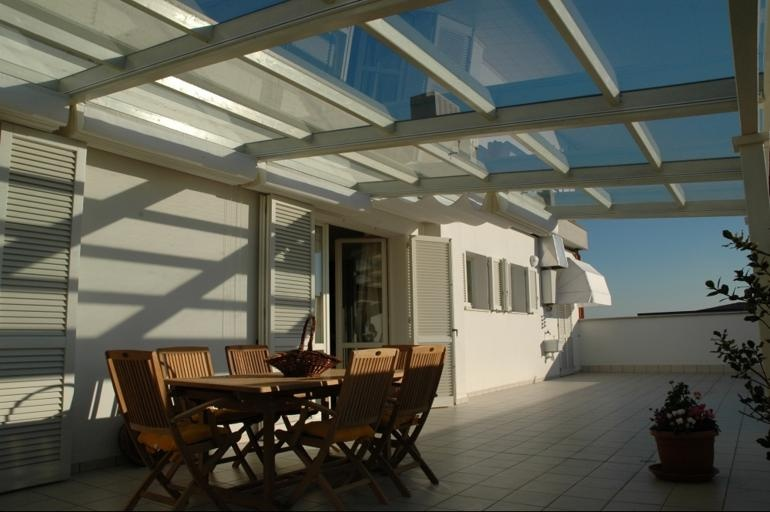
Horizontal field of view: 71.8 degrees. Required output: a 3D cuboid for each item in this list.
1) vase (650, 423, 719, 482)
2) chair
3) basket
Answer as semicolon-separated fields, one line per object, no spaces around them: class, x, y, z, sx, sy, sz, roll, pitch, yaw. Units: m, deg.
vase;2.901;1.972;5.403;0.735;0.339;0.654;5;-12;-33
chair;-1.113;1.669;5.152;1.166;0.688;2.012;-10;-14;36
basket;-0.803;0.985;5.691;1.026;0.575;0.796;-2;-17;6
